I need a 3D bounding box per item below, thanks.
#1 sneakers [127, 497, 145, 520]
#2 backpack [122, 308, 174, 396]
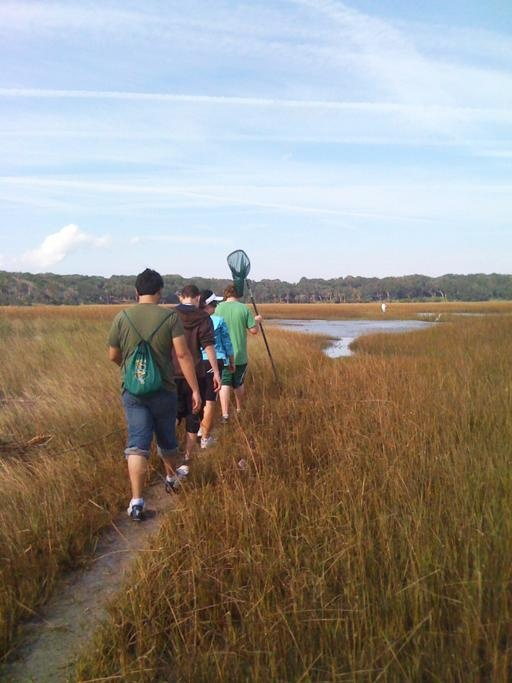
[{"bbox_3d":[-0.925,1.303,4.642,0.067,0.124,0.234,2,-1,-8],"label":"sneakers"},{"bbox_3d":[-0.844,0.077,4.669,0.370,0.988,0.314,2,-24,-11],"label":"backpack"}]
